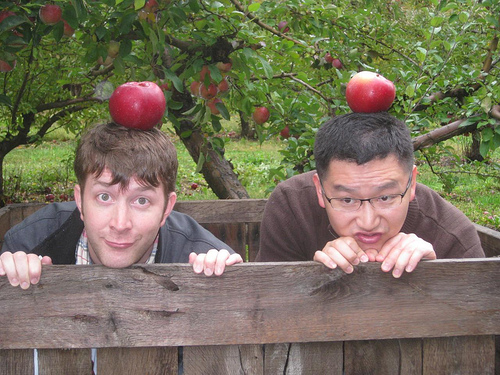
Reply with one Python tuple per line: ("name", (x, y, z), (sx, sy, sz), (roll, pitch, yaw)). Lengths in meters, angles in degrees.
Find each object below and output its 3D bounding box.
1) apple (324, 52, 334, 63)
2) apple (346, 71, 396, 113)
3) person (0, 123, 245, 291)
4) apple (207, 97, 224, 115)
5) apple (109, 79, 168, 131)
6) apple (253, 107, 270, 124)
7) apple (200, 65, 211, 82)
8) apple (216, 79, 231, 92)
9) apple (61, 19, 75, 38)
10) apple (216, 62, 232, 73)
("apple", (0.596, -0.985, 4.173), (0.054, 0.070, 0.055), (-11, 21, -22))
("apple", (0.532, -0.426, 2.432), (0.209, 0.182, 0.145), (0, 4, 9))
("person", (-0.617, 0.053, 2.474), (1.144, 0.690, 0.930), (0, 4, -2))
("apple", (-0.210, -0.480, 3.261), (0.082, 0.099, 0.084), (-1, -7, 2))
("apple", (-0.481, -0.364, 2.330), (0.193, 0.192, 0.198), (-5, 16, -26))
("apple", (0.066, -0.445, 3.386), (0.082, 0.093, 0.090), (0, 0, -18))
("apple", (-0.266, -0.656, 3.103), (0.059, 0.077, 0.062), (1, 9, 5))
("apple", (-0.163, -0.610, 3.258), (0.071, 0.076, 0.087), (-1, -10, 5))
("apple", (-0.929, -0.799, 2.759), (0.037, 0.067, 0.051), (2, -14, -8))
("apple", (-0.155, -0.705, 3.217), (0.061, 0.080, 0.066), (7, 45, 18))
